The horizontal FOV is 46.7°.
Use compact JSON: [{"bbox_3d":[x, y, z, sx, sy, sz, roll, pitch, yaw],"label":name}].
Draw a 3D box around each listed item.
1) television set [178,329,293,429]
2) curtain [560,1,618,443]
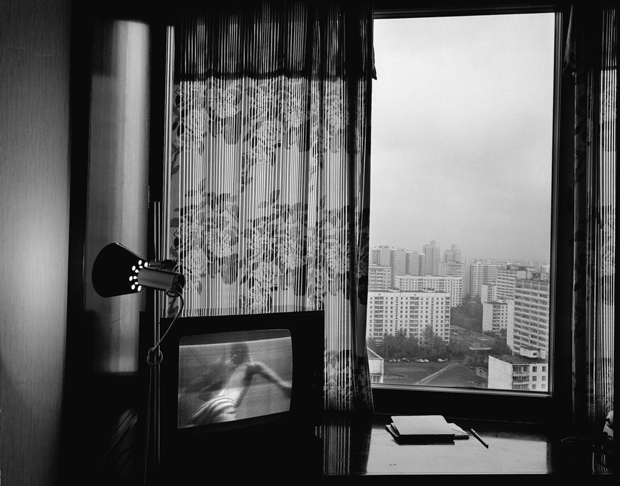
[{"bbox_3d":[-0.294,0.447,2.761,0.498,0.424,0.284,-3,18,-21],"label":"television set"},{"bbox_3d":[1.158,-0.113,2.970,0.226,1.797,0.163,1,2,22],"label":"curtain"}]
